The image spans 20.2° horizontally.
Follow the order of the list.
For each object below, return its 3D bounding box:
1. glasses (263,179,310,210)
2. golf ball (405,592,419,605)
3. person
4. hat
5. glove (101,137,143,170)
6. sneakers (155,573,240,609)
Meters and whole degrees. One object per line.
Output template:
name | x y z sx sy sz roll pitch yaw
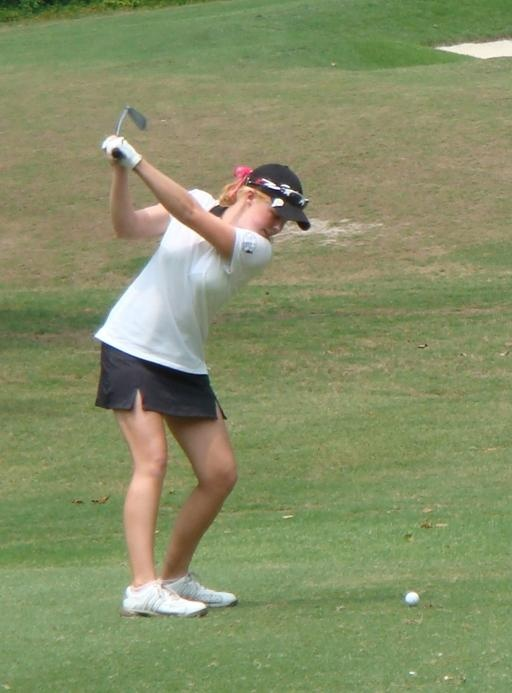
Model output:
glasses | 0.125 -0.685 6.436 0.188 0.073 0.129 29 10 7
golf ball | 0.698 1.127 6.446 0.065 0.051 0.053 20 45 4
person | -0.351 0.133 6.441 0.636 2.155 1.028 11 19 44
hat | 0.124 -0.680 6.493 0.370 0.207 0.247 35 2 8
glove | -0.577 -0.858 6.239 0.196 0.071 0.125 27 -20 12
sneakers | -0.259 1.120 6.530 0.422 0.136 0.123 13 -7 -4
